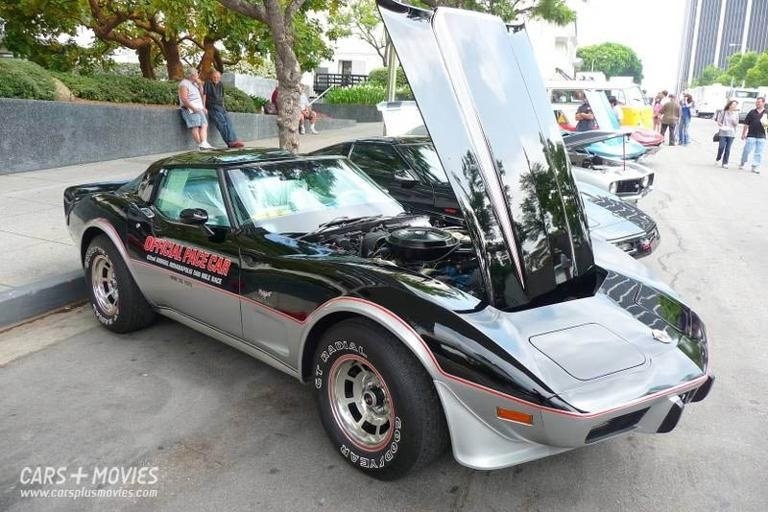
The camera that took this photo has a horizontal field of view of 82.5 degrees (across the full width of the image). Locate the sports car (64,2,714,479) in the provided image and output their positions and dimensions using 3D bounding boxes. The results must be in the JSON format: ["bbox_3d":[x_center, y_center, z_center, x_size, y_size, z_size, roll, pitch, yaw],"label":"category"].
[{"bbox_3d":[-0.415,-0.254,4.354,6.060,2.865,2.752,18,23,39],"label":"sports car"}]
